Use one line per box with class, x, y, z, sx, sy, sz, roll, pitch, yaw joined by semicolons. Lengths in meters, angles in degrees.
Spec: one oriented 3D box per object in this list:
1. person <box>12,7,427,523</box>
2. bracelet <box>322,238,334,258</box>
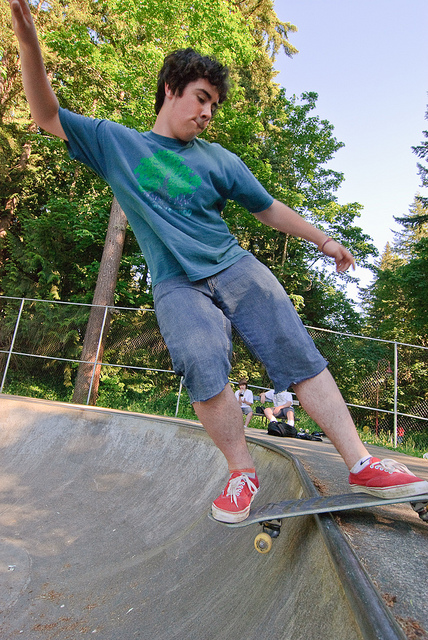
person;-0.032;-0.217;1.628;1.211;1.697;0.655;-5;-3;4
bracelet;0.498;-0.317;1.909;0.046;0.071;0.089;-5;-3;15
